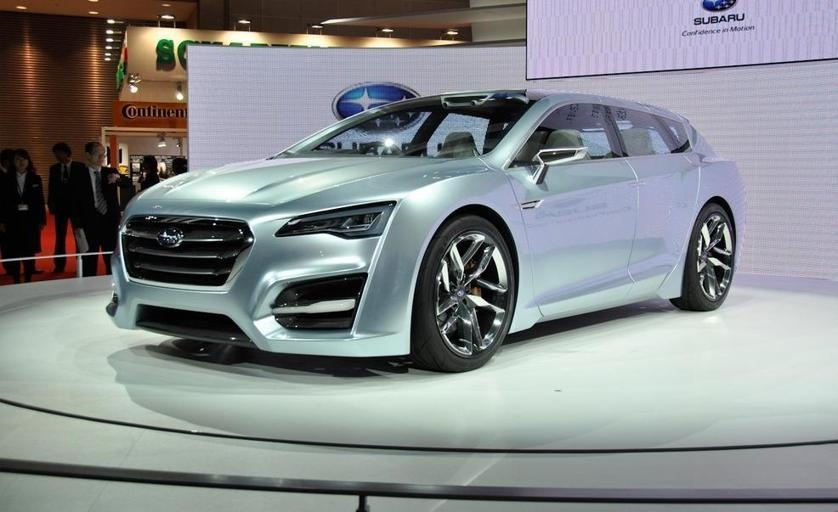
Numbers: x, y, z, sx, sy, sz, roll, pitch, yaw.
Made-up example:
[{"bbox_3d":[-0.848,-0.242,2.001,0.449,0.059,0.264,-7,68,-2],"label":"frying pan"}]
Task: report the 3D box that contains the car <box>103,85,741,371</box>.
[{"bbox_3d":[0.654,-0.144,3.866,2.354,1.241,4.059,0,1,43],"label":"car"}]
